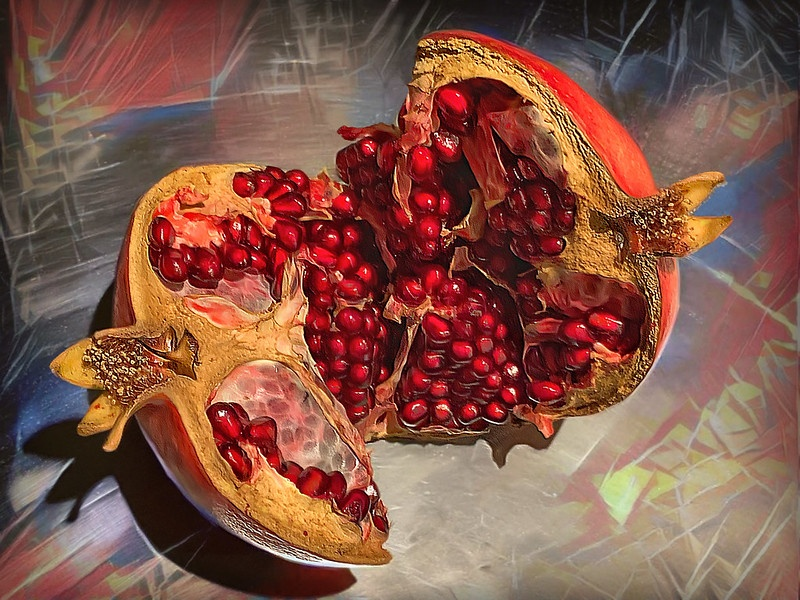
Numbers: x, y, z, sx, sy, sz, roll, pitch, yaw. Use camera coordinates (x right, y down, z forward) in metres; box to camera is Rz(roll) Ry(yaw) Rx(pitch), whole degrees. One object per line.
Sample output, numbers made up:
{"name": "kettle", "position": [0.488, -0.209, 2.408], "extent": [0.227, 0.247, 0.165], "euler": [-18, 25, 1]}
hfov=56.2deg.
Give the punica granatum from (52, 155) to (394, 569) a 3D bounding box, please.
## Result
{"name": "punica granatum", "position": [-0.316, 0.132, 1.400], "extent": [0.604, 0.594, 0.620], "euler": [-6, 35, -24]}
